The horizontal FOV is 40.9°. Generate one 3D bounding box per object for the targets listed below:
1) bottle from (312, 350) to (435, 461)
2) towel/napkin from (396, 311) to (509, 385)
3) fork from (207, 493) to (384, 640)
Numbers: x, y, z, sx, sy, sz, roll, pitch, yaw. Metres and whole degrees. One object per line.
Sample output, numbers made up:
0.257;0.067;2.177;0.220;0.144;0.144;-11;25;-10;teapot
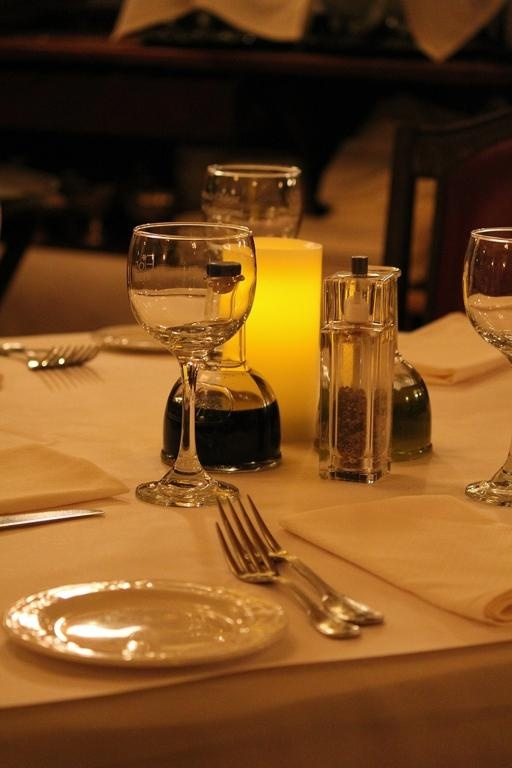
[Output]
0.129;0.022;0.722;0.109;0.115;0.107;1;-2;18;bottle
0.276;-0.048;0.974;0.140;0.024;0.103;-17;31;-41;towel/napkin
0.013;0.093;0.425;0.034;0.030;0.165;-10;17;-17;fork
